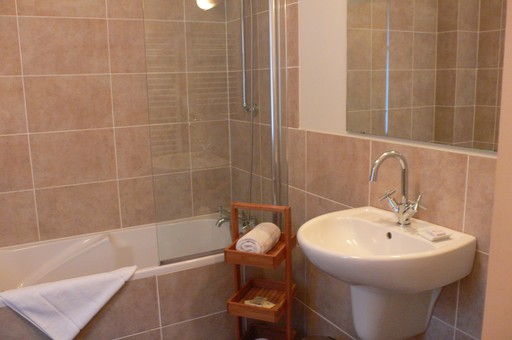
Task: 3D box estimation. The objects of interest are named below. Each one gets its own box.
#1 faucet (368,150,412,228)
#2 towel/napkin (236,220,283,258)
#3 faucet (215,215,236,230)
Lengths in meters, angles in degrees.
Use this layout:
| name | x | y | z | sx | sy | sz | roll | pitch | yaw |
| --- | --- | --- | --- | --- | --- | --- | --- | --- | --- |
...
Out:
| name | x | y | z | sx | sy | sz | roll | pitch | yaw |
| --- | --- | --- | --- | --- | --- | --- | --- | --- | --- |
| faucet | 0.750 | 0.104 | 2.158 | 0.248 | 0.394 | 0.249 | 5 | 6 | 35 |
| towel/napkin | 0.019 | 0.433 | 2.689 | 0.215 | 0.110 | 0.336 | 5 | 14 | 20 |
| faucet | -0.228 | 0.349 | 2.813 | 0.152 | 0.096 | 0.047 | -5 | 3 | -37 |
